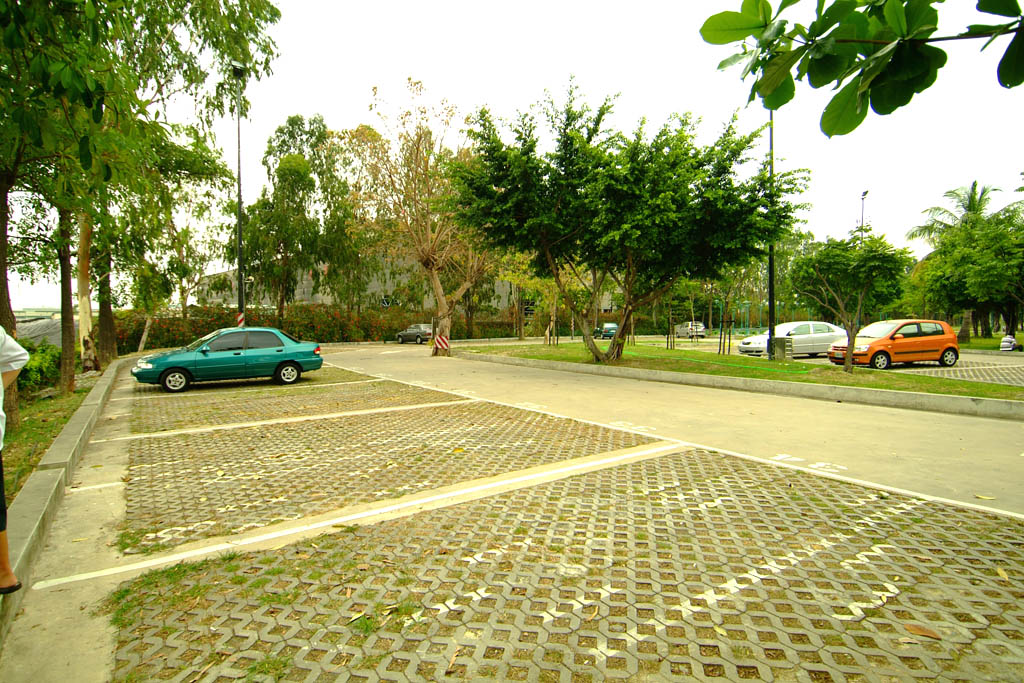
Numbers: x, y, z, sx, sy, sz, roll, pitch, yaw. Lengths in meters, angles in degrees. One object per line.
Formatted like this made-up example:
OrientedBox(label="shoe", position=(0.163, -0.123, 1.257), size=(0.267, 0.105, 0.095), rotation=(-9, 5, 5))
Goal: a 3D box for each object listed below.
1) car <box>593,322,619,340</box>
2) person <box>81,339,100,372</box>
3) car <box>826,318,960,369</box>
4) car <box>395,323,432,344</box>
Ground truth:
OrientedBox(label="car", position=(7.267, -0.804, 54.464), size=(1.866, 1.425, 2.931), rotation=(-1, 9, -8))
OrientedBox(label="person", position=(-13.067, 0.399, 22.030), size=(0.426, 1.012, 0.811), rotation=(-2, 3, -31))
OrientedBox(label="car", position=(12.328, 0.068, 22.599), size=(3.795, 1.481, 0.976), rotation=(-1, 2, -20))
OrientedBox(label="car", position=(-6.669, -0.466, 47.146), size=(1.436, 1.115, 3.195), rotation=(0, 3, -32))
